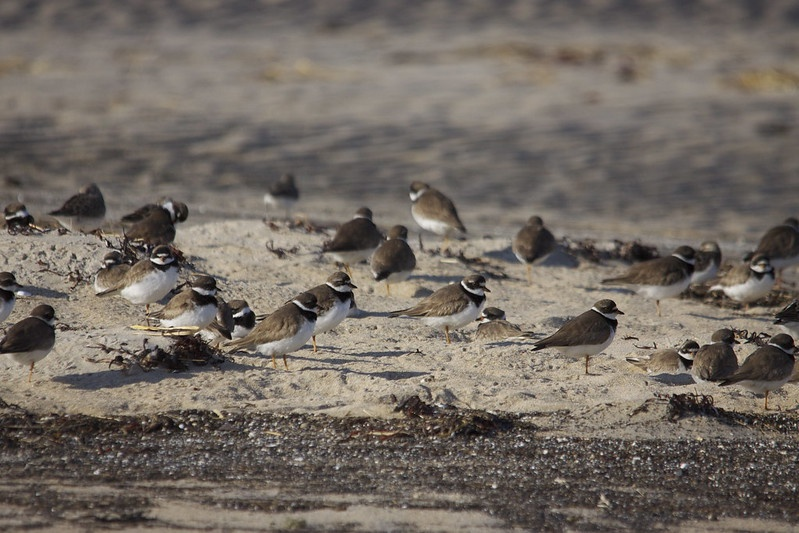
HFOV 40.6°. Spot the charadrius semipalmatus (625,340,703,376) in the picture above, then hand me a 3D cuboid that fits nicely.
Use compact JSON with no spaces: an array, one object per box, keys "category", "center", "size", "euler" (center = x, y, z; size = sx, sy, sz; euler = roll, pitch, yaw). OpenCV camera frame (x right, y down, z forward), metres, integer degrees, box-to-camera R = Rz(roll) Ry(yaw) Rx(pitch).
[{"category":"charadrius semipalmatus","center":[6.006,2.055,24.353],"size":[1.576,0.456,0.688],"euler":[-8,36,-4]}]

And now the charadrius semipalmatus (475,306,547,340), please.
[{"category":"charadrius semipalmatus","center":[2.493,1.355,25.797],"size":[1.363,0.704,0.739],"euler":[3,3,37]}]

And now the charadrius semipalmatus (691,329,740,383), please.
[{"category":"charadrius semipalmatus","center":[6.993,1.993,24.006],"size":[0.873,1.349,1.204],"euler":[-4,71,25]}]
